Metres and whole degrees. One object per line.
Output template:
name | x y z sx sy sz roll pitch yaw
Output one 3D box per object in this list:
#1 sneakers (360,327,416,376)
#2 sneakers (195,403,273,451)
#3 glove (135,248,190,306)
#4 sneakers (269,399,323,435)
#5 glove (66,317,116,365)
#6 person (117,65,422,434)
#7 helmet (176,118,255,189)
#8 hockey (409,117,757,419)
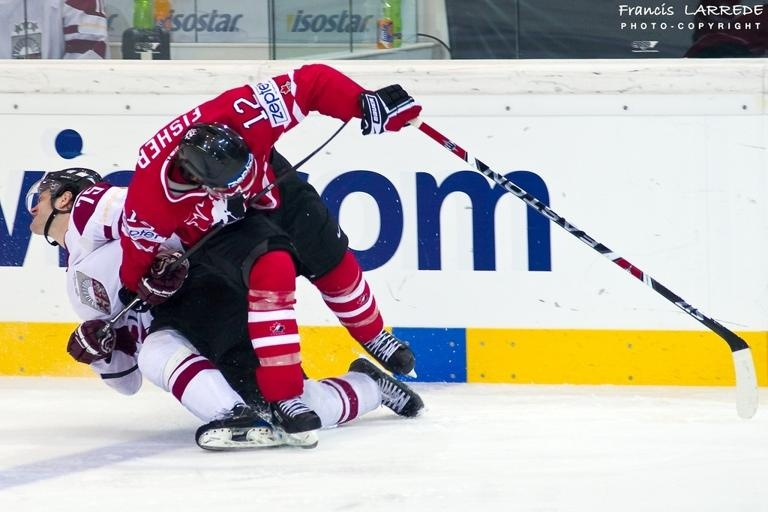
sneakers | 0.029 0.438 5.137 0.340 0.110 0.132 35 -15 1
sneakers | -0.631 0.739 4.826 0.422 0.131 0.220 2 31 -7
glove | -0.934 0.099 4.815 0.177 0.229 0.104 41 3 23
sneakers | -0.375 0.667 4.758 0.209 0.153 0.120 -2 7 -5
glove | -1.267 0.375 4.949 0.211 0.199 0.149 -3 7 -19
person | -0.475 -0.025 4.859 1.282 1.558 0.527 -3 7 -13
helmet | -0.686 -0.402 4.729 0.306 0.240 0.240 29 -6 -15
hockey | 1.025 0.042 5.461 2.336 0.325 0.187 30 -22 7
